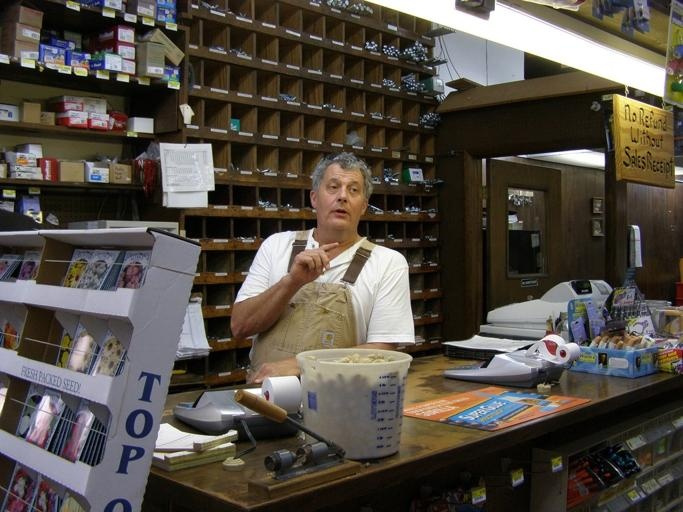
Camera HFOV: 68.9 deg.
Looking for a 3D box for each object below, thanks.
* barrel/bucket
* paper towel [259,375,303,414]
[{"bbox_3d":[0.029,0.343,1.243,0.237,0.208,0.270,0,-3,-10],"label":"barrel/bucket"},{"bbox_3d":[-0.173,0.395,1.412,0.088,0.091,0.110,-6,-11,41],"label":"paper towel"}]
